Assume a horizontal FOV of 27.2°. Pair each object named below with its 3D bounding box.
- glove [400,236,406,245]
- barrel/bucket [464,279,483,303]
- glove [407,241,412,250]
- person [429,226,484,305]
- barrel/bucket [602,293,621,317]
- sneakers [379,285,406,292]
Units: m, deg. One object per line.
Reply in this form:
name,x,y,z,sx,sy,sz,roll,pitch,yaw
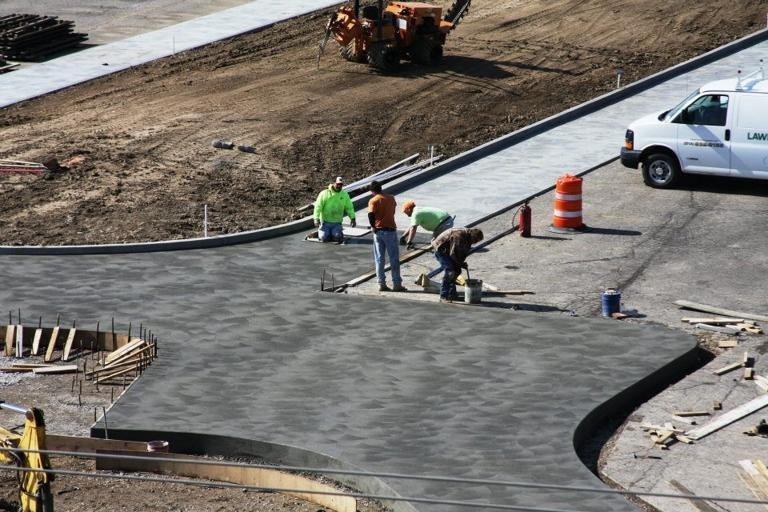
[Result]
glove,0.471,-0.353,36.745,0.150,0.152,0.178,-4,-9,20
barrel/bucket,1.966,0.763,34.255,0.613,0.460,0.534,1,0,18
glove,0.621,-0.270,36.463,0.118,0.122,0.147,-4,-15,2
person,1.552,0.134,34.509,1.227,1.526,0.675,-25,32,-21
barrel/bucket,4.871,1.037,33.711,0.616,0.428,0.500,-1,5,-1
sneakers,0.241,0.706,35.043,0.647,0.193,0.184,-1,5,2
